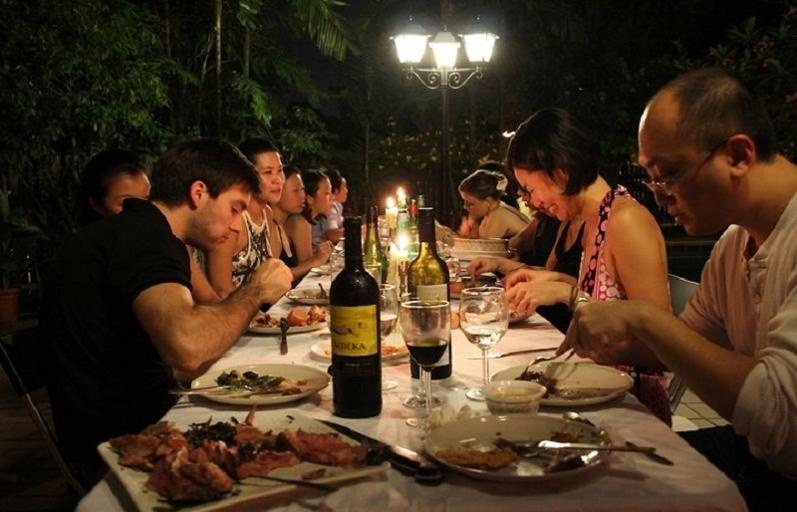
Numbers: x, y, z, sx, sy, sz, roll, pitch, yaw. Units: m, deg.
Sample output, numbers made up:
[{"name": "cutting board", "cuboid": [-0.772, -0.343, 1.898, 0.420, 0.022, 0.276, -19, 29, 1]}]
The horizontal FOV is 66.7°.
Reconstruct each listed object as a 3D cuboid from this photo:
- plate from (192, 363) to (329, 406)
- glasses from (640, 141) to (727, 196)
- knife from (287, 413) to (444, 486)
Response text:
[{"name": "plate", "cuboid": [-0.547, 0.518, 2.459, 0.254, 0.033, 0.246, -5, 8, -38]}, {"name": "glasses", "cuboid": [1.117, -0.326, 2.373, 0.216, 0.056, 0.206, -34, -5, 11]}, {"name": "knife", "cuboid": [-0.108, 0.636, 1.973, 0.370, 0.031, 0.051, 19, 29, 26]}]
